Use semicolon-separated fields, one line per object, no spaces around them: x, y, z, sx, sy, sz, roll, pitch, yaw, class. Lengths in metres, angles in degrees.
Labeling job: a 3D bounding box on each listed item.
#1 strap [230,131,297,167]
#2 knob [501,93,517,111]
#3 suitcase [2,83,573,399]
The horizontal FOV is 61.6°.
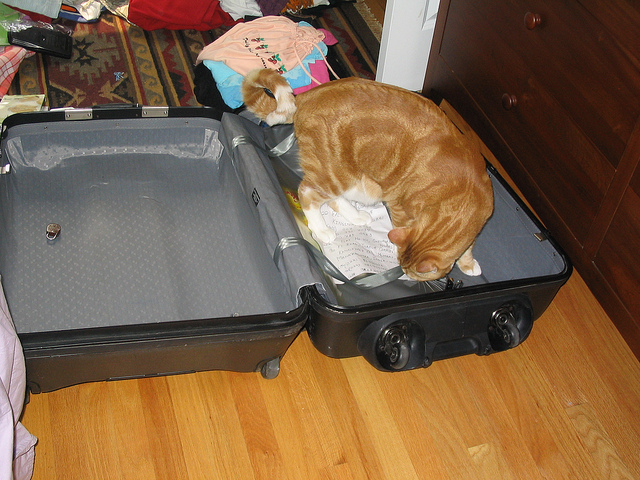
-0.201;-0.332;1.910;0.197;0.054;0.119;-25;28;-3;strap
0.678;-0.495;1.931;0.048;0.052;0.046;18;17;33;knob
-0.184;0.095;1.874;1.429;0.395;1.171;-7;61;-13;suitcase
